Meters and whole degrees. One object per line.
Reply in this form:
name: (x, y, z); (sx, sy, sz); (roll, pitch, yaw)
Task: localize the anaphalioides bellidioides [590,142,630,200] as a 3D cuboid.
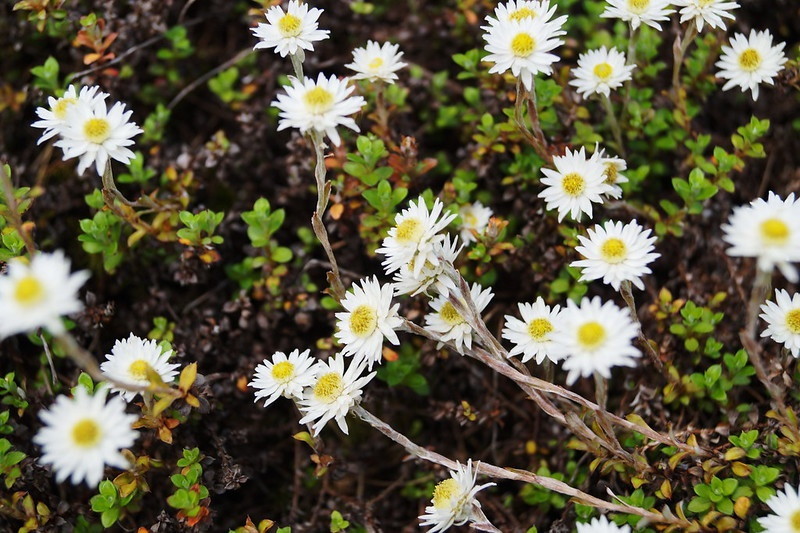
anaphalioides bellidioides: (1.022, -0.443, 3.447); (0.121, 0.262, 0.249); (-6, 12, 22)

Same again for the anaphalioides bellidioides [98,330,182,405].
anaphalioides bellidioides: (-1.196, 0.440, 3.330); (0.307, 0.183, 0.244); (20, 24, 18)

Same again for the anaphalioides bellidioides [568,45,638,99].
anaphalioides bellidioides: (1.012, -0.970, 3.594); (0.283, 0.257, 0.150); (15, 23, 11)
